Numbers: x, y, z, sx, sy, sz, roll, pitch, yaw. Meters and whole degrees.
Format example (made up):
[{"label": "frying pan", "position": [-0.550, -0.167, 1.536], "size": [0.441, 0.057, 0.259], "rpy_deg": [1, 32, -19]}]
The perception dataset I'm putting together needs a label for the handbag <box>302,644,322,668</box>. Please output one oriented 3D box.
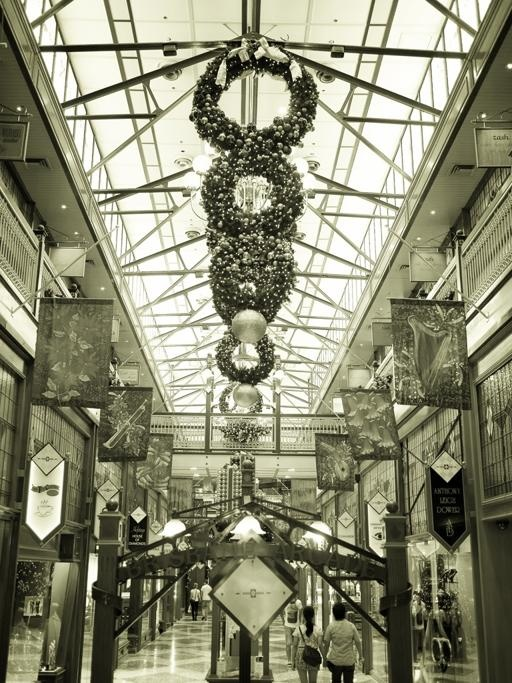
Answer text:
[{"label": "handbag", "position": [0.658, 3.844, 7.841], "size": [0.218, 0.240, 0.409], "rpy_deg": [-1, -27, 2]}]
